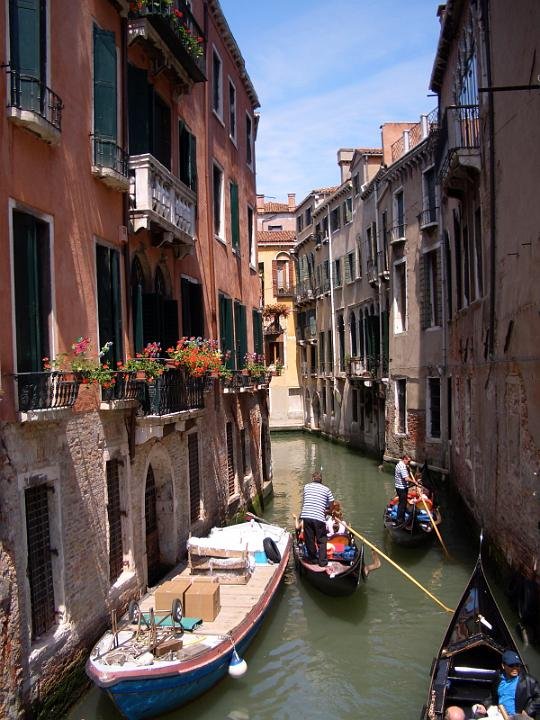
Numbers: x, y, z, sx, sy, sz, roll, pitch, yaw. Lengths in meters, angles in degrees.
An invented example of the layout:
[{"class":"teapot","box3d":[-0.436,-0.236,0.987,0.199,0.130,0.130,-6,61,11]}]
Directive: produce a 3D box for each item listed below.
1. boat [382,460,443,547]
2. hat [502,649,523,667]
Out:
[{"class":"boat","box3d":[3.167,3.088,15.462,1.283,1.948,2.205,0,0,16]},{"class":"hat","box3d":[2.385,2.939,6.959,0.087,0.113,0.157,0,-4,-3]}]
